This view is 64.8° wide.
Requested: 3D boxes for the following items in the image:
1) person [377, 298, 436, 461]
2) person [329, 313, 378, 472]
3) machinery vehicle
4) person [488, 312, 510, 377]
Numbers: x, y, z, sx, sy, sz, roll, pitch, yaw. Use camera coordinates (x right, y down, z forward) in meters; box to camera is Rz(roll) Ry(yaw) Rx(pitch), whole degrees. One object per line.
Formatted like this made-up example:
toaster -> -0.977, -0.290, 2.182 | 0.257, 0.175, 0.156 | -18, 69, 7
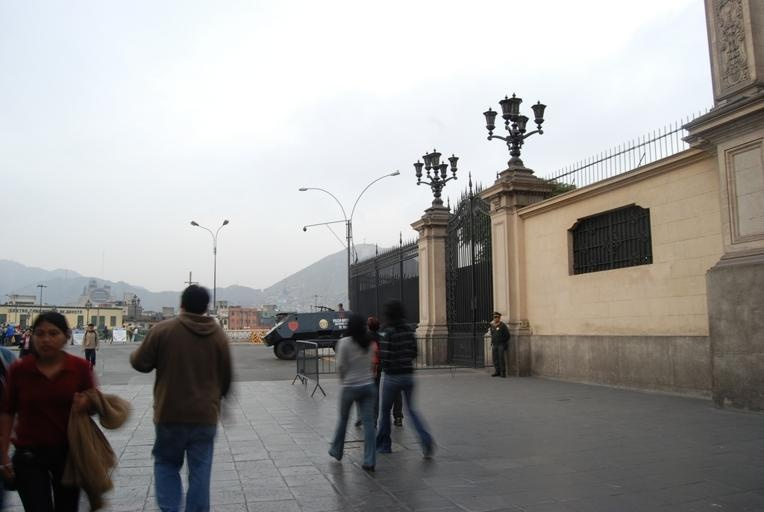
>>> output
person -> 0.324, 1.846, 9.119 | 0.936, 2.284, 0.644 | -4, -9, 25
person -> -0.393, 1.910, 8.525 | 0.623, 2.137, 0.681 | 2, -9, -11
machinery vehicle -> -3.732, 3.868, 29.472 | 4.193, 2.165, 2.304 | 3, -8, -22
person -> 3.529, 2.665, 17.928 | 0.539, 1.863, 0.529 | -2, -9, 12
